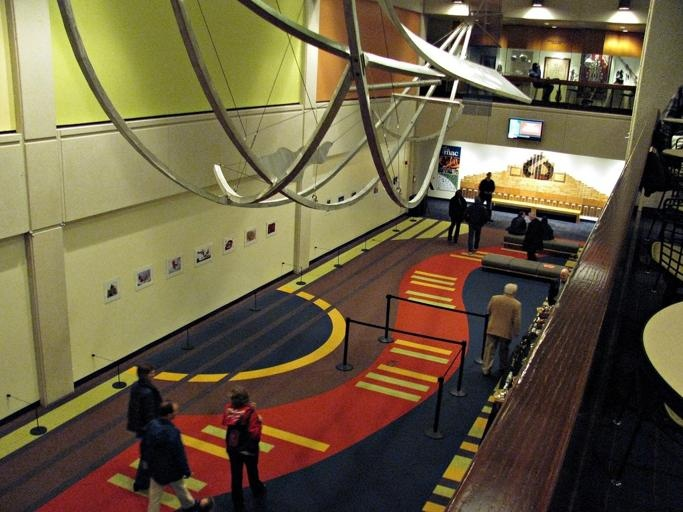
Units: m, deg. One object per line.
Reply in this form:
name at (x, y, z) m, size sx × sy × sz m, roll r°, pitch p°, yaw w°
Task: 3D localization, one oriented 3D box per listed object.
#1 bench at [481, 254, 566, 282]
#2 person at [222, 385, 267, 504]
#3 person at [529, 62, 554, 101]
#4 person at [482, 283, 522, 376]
bench at (5.873, 0.416, 16.541) m, size 2.455 × 0.652 × 0.834 m, roll 13°, pitch 21°, yaw 16°
person at (-1.358, 2.716, 7.059) m, size 0.559 × 1.954 × 0.385 m, roll 2°, pitch 19°, yaw -9°
person at (8.767, -7.633, 22.127) m, size 1.114 × 1.578 × 0.366 m, roll 11°, pitch 19°, yaw 15°
person at (3.351, 1.631, 10.614) m, size 0.677 × 2.106 × 0.518 m, roll 11°, pitch 20°, yaw 18°
